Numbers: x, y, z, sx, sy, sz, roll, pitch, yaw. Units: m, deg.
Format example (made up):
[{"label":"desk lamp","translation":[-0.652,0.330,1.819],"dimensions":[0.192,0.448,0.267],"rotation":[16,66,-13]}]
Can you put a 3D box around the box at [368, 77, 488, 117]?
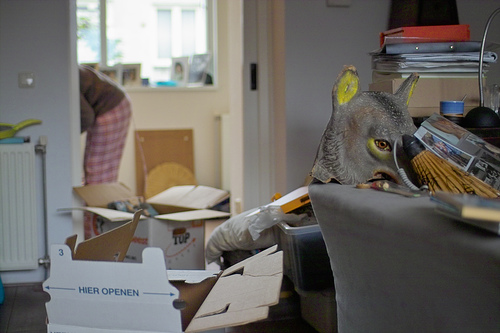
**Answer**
[{"label":"box","translation":[0.771,-0.304,1.863],"dimensions":[0.473,0.169,0.277],"rotation":[4,10,25]}]

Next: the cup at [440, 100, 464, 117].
[{"label":"cup","translation":[0.831,-0.232,1.708],"dimensions":[0.106,0.061,0.073],"rotation":[-3,9,-18]}]

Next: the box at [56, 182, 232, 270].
[{"label":"box","translation":[-0.658,0.348,2.778],"dimensions":[0.685,0.472,0.695],"rotation":[-1,1,-4]}]

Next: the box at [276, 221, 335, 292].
[{"label":"box","translation":[0.242,0.388,1.877],"dimensions":[0.228,0.210,0.324],"rotation":[-2,-2,-19]}]

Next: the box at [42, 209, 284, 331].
[{"label":"box","translation":[-0.196,0.256,1.108],"dimensions":[0.560,0.240,0.313],"rotation":[1,9,7]}]

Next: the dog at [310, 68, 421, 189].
[{"label":"dog","translation":[0.412,-0.125,1.378],"dimensions":[0.537,0.380,0.219],"rotation":[-7,11,-35]}]

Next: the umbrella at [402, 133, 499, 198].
[{"label":"umbrella","translation":[0.627,0.002,1.332],"dimensions":[0.126,0.199,0.114],"rotation":[-43,-8,-8]}]
